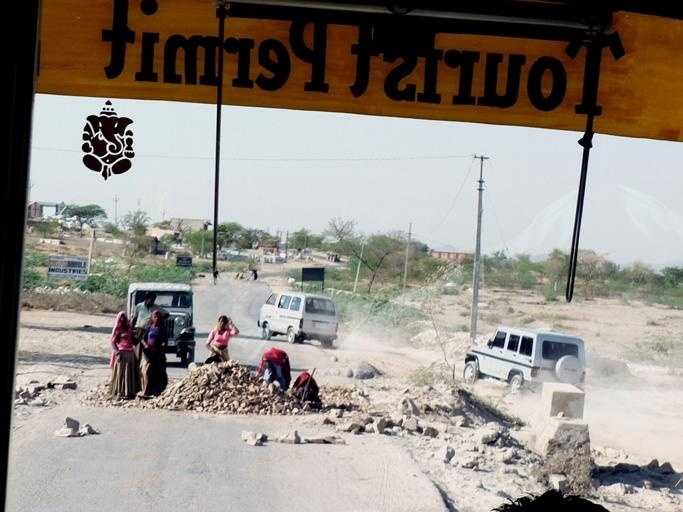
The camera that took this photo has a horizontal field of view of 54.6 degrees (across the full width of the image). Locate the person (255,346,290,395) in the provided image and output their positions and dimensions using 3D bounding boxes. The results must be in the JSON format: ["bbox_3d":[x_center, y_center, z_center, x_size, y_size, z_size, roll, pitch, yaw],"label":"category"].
[{"bbox_3d":[-1.661,2.866,16.902,0.576,1.066,0.892,-1,-5,38],"label":"person"}]

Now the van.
[{"bbox_3d":[-1.678,2.271,25.236,1.569,1.755,2.934,6,3,-27],"label":"van"}]

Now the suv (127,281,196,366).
[{"bbox_3d":[-4.632,1.622,17.181,1.179,1.614,2.432,0,-4,-7],"label":"suv"}]

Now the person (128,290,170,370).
[{"bbox_3d":[-4.612,1.721,15.748,0.752,1.698,2.114,2,1,-15],"label":"person"}]

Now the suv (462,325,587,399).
[{"bbox_3d":[5.238,2.889,18.614,1.490,1.589,3.063,3,6,-24],"label":"suv"}]

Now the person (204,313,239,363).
[{"bbox_3d":[-2.952,2.366,16.032,0.627,1.846,0.499,6,18,-5],"label":"person"}]
